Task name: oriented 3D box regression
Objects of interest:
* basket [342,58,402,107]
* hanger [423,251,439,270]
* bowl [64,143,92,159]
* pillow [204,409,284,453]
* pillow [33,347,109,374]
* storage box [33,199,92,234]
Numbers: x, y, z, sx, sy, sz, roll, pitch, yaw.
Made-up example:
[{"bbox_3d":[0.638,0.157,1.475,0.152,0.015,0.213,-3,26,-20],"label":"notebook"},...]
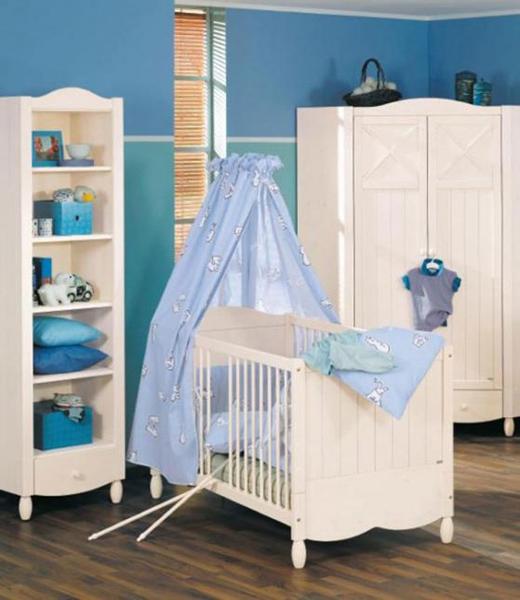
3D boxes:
[{"bbox_3d":[0.678,-1.337,4.433,0.183,0.171,0.188,6,27,38],"label":"basket"},{"bbox_3d":[0.982,-0.231,4.254,0.068,0.038,0.091,15,22,29],"label":"hanger"},{"bbox_3d":[-0.805,-0.652,3.257,0.083,0.058,0.090,-1,5,0],"label":"bowl"},{"bbox_3d":[-0.063,0.508,2.867,0.240,0.098,0.242,-1,-1,-12],"label":"pillow"},{"bbox_3d":[-0.810,0.252,3.214,0.340,0.120,0.116,-3,4,-41],"label":"pillow"},{"bbox_3d":[-0.856,-0.361,3.250,0.171,0.122,0.172,-2,4,-34],"label":"storage box"}]
